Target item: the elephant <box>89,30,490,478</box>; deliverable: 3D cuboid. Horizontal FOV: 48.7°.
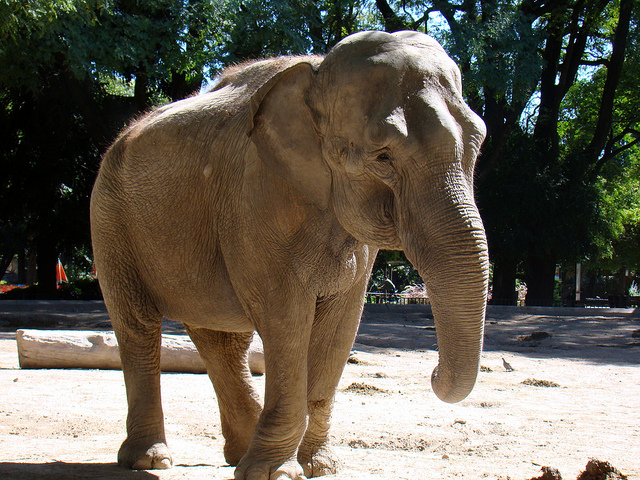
[{"bbox_3d":[-0.082,0.325,6.797,4.286,4.066,2.022,-11,-13,35],"label":"elephant"}]
